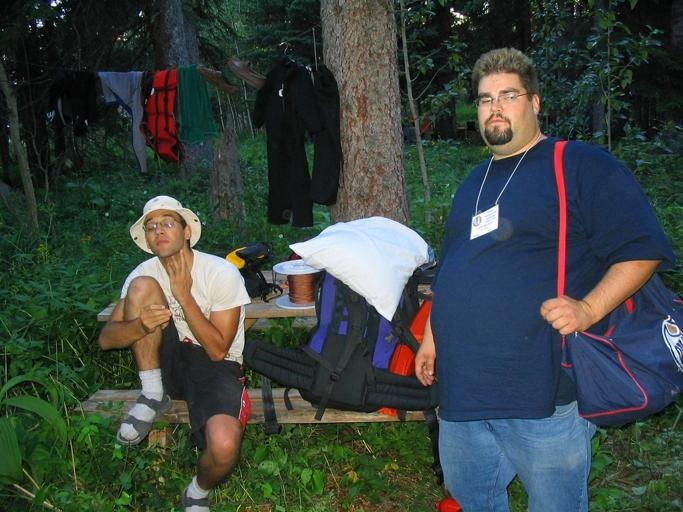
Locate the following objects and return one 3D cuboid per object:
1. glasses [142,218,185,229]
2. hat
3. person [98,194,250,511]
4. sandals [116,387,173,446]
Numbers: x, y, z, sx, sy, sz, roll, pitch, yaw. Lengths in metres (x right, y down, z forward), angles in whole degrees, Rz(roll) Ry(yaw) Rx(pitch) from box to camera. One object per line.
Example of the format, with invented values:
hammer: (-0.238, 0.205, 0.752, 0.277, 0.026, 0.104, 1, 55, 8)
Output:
glasses: (-1.308, -0.231, 4.389, 0.260, 0.109, 0.112, -3, 8, -12)
hat: (-1.318, -0.278, 4.491, 0.314, 0.192, 0.315, 2, -9, 46)
person: (-1.174, 0.712, 4.484, 1.096, 2.289, 0.659, 2, 8, 21)
sandals: (-1.456, 1.181, 4.586, 0.203, 0.237, 0.540, 17, 41, 17)
